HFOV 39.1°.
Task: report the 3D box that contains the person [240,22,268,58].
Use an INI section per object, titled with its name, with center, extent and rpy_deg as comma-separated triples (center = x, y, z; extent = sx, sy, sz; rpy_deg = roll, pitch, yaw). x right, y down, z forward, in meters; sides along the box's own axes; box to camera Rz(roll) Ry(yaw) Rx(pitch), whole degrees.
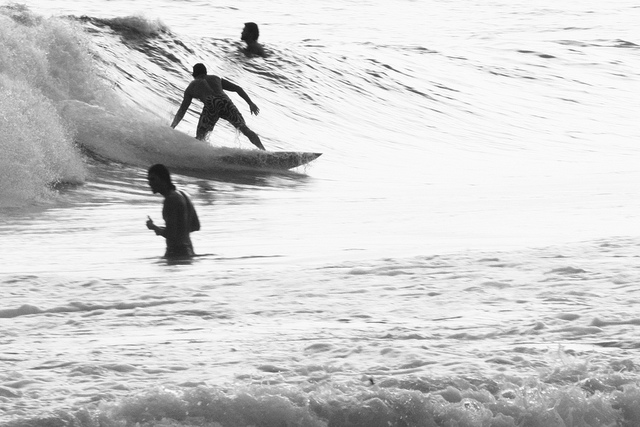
[person]
center = -1.715, -4.697, 23.627
extent = 0.651, 0.942, 0.670
rpy_deg = -2, 10, -3
